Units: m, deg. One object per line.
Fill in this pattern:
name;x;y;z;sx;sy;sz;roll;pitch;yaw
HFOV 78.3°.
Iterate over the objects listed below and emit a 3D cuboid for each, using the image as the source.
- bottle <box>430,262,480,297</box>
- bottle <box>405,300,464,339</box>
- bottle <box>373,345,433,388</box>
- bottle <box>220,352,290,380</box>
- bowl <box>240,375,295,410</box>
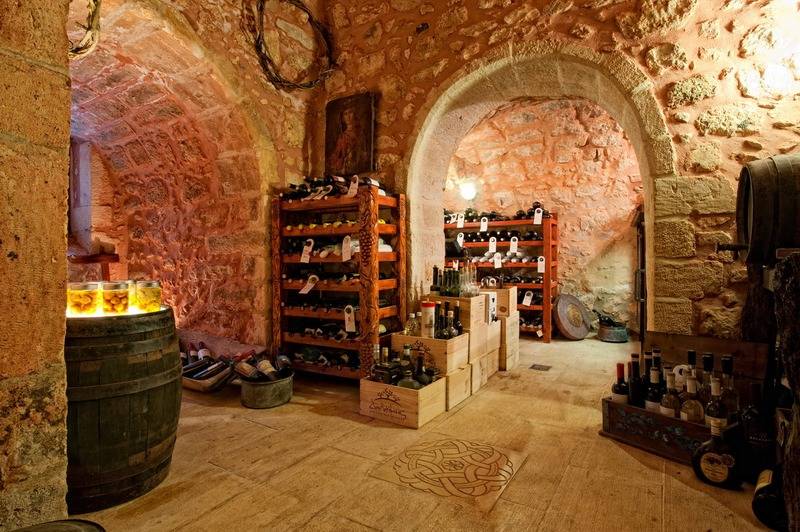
bottle;0.466;0.116;4.301;0.321;0.211;0.321;-1;-1;0
bottle;0.274;0.431;3.934;0.341;0.295;0.354;-1;0;35
bottle;0.035;0.757;3.643;0.339;0.229;0.357;-1;-1;0
bottle;-1.118;0.805;3.872;0.365;0.116;0.277;0;-1;4
bowl;-1.010;0.989;3.878;0.408;0.172;0.411;-3;-10;-1
